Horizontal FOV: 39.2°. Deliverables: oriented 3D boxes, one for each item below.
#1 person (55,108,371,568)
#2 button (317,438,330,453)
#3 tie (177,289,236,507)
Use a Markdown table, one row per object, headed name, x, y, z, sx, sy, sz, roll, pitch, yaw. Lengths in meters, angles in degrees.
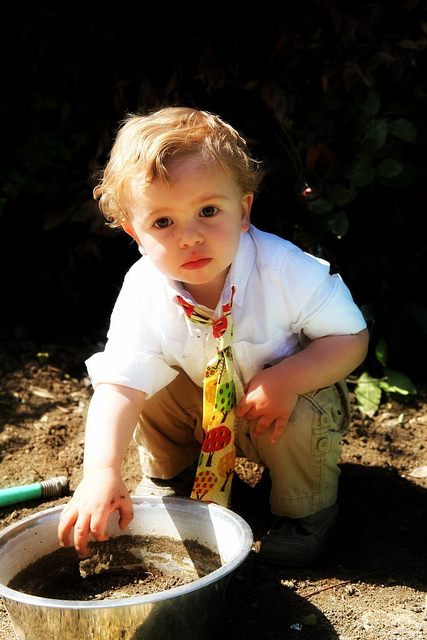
| name | x | y | z | sx | sy | sz | roll | pitch | yaw |
| --- | --- | --- | --- | --- | --- | --- | --- | --- | --- |
| person | -0.013 | 0.030 | 1.400 | 0.826 | 1.029 | 0.500 | -4 | 11 | -29 |
| button | 0.255 | 0.287 | 1.377 | 0.033 | 0.029 | 0.008 | 1 | 3 | -36 |
| tie | -0.015 | 0.212 | 1.395 | 0.171 | 0.571 | 0.055 | 4 | 25 | 7 |
